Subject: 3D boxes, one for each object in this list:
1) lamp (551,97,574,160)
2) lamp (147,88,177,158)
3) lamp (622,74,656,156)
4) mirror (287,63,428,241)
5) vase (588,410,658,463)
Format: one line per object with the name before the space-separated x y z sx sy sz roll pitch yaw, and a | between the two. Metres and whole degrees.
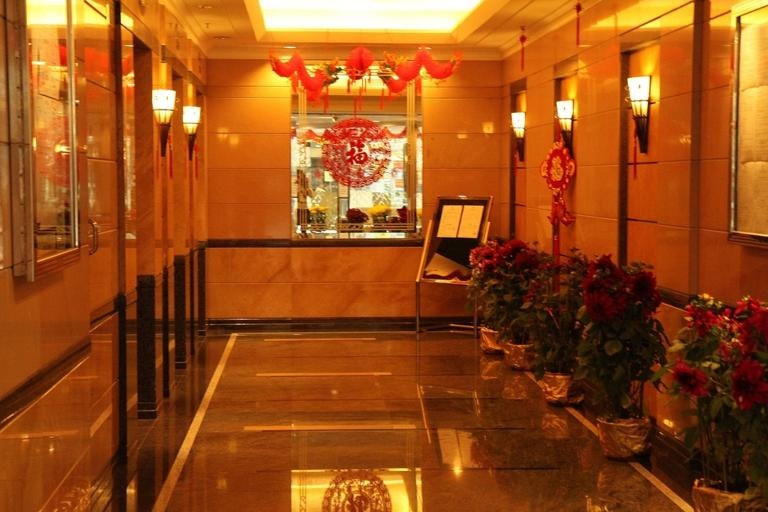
lamp | 2.293 -1.605 7.699 0.116 0.699 0.339 -4 9 -25
lamp | -2.317 -1.416 6.428 0.157 0.716 0.577 -3 8 -13
lamp | 2.598 -1.452 6.262 0.171 0.796 0.289 -3 8 -17
mirror | -0.534 -1.759 9.825 3.186 3.854 0.040 0 4 -3
vase | 2.030 1.542 5.243 0.400 0.245 0.384 3 -9 -30
